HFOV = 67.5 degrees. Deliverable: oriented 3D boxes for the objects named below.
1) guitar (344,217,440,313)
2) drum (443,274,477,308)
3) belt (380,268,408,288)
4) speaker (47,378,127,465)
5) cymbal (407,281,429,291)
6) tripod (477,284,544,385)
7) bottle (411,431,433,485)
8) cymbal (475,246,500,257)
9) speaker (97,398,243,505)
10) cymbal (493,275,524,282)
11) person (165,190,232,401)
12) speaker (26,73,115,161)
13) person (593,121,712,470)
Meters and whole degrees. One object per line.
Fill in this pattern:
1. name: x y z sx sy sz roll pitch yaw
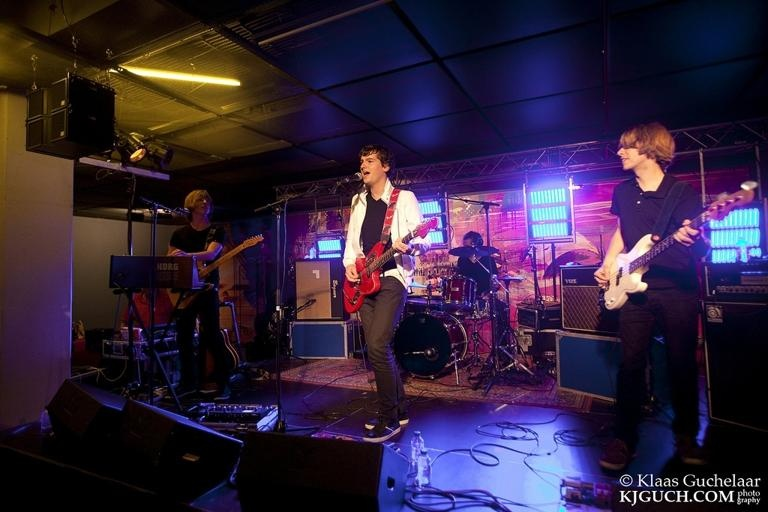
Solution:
1. guitar: 0.066 0.110 6.197 0.259 0.584 1.561 16 -39 -35
2. drum: 0.977 0.462 7.467 0.436 0.388 0.497 2 -2 9
3. belt: 0.090 0.218 5.793 0.174 0.110 0.237 31 -12 -29
4. speaker: -2.527 1.392 5.015 0.653 0.590 0.625 22 -11 -9
5. cymbal: 0.497 0.447 8.414 0.299 0.070 0.305 1 -3 18
6. tripod: 1.647 1.062 7.541 0.725 1.207 1.234 2 -2 20
7. bottle: 0.333 1.776 5.168 0.188 0.475 0.381 2 -2 3
8. cymbal: 1.444 -0.074 7.968 0.292 0.127 0.503 2 -2 16
9. speaker: -1.671 1.593 4.934 1.087 0.747 0.806 18 -25 9
10. cymbal: 1.658 0.295 7.557 0.256 0.070 0.250 0 -5 13
11. person: -2.199 0.448 6.838 0.765 2.037 1.275 3 -2 -10
12. speaker: -3.292 -1.455 5.973 0.859 0.789 0.369 2 -2 12
13. person: 2.462 0.356 5.252 0.893 3.150 0.521 2 -2 28
